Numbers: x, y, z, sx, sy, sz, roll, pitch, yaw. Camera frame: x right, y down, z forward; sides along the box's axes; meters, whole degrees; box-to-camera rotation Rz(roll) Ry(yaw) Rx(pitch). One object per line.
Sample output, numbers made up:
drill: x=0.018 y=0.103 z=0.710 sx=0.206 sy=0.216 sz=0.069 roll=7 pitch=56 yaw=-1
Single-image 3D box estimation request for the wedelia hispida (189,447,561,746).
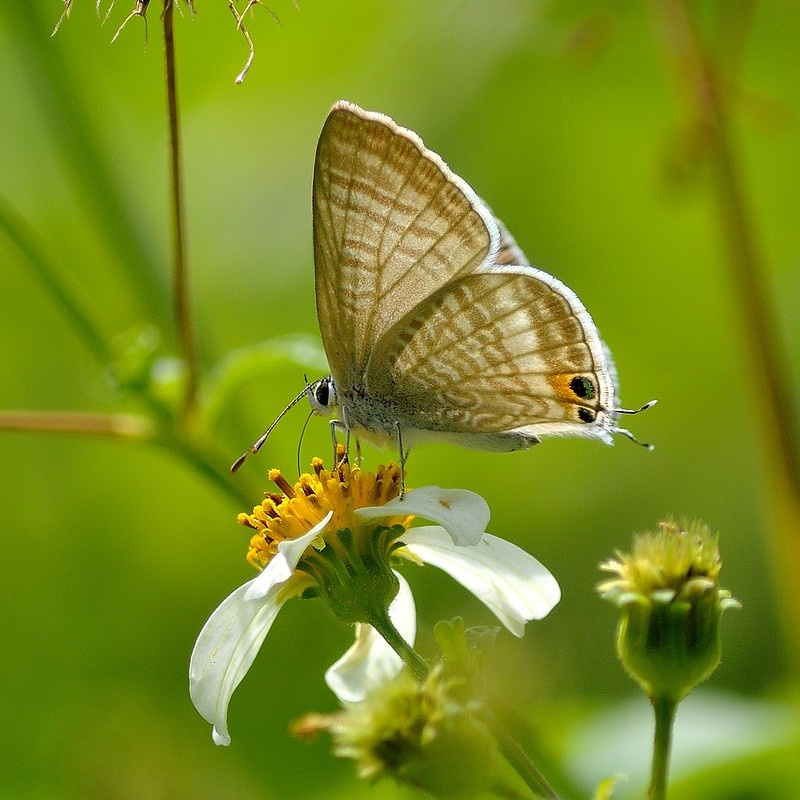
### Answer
wedelia hispida: x=-0.075 y=0.262 z=1.686 sx=0.594 sy=0.493 sz=0.316 roll=-33 pitch=-69 yaw=3
